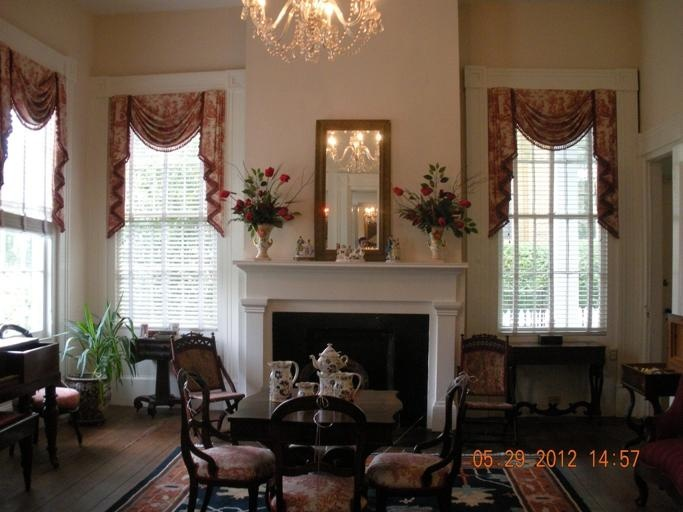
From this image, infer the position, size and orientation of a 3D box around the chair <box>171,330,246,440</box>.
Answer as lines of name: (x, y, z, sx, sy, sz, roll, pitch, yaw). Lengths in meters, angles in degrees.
chair: (-1.371, 1.459, 6.725, 0.815, 1.146, 0.777, -2, -3, 29)

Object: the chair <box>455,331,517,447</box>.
chair: (1.534, 1.364, 6.600, 0.702, 1.142, 0.808, -2, -10, 28)

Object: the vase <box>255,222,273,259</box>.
vase: (-0.864, -0.150, 7.047, 0.189, 0.389, 0.248, 0, -2, -7)

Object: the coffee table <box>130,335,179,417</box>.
coffee table: (-2.186, 1.411, 7.575, 0.606, 0.800, 0.646, 0, -10, 8)

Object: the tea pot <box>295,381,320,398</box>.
tea pot: (-0.270, 1.133, 5.347, 0.220, 0.227, 0.134, 12, -17, -43)

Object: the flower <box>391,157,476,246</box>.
flower: (1.042, -0.402, 7.031, 0.879, 0.552, 0.809, 4, -16, -30)

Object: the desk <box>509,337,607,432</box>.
desk: (2.480, 1.457, 7.335, 1.027, 0.957, 0.396, -2, 7, 10)

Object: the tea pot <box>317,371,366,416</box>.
tea pot: (0.020, 1.145, 5.265, 0.357, 0.367, 0.216, -1, -1, -20)

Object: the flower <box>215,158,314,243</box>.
flower: (-0.799, -0.556, 7.087, 0.635, 0.476, 0.676, -13, -11, -42)

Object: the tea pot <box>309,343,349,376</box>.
tea pot: (-0.112, 0.868, 5.307, 0.286, 0.255, 0.254, 0, -3, -19)

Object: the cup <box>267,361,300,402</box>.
cup: (-0.507, 1.078, 5.409, 0.299, 0.321, 0.197, 1, -4, -16)

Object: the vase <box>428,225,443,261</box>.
vase: (1.035, -0.135, 6.886, 0.254, 0.345, 0.285, 0, -4, 17)
